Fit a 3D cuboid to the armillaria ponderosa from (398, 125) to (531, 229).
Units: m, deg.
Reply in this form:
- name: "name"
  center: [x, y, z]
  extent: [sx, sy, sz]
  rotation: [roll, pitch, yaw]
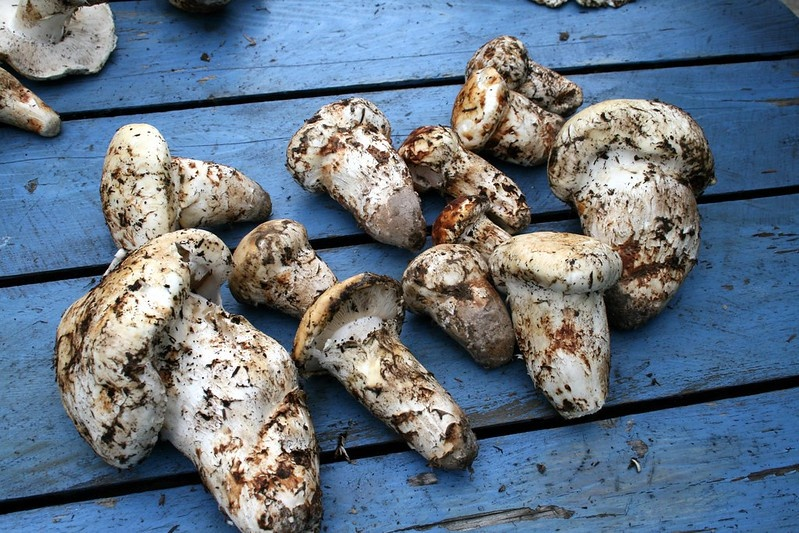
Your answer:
- name: "armillaria ponderosa"
  center: [0.325, -0.431, 4.913]
  extent: [0.728, 0.353, 0.295]
  rotation: [31, 107, 7]

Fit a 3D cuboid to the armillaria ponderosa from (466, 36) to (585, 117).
- name: "armillaria ponderosa"
  center: [0.639, -0.923, 5.152]
  extent: [0.529, 0.363, 0.242]
  rotation: [27, 72, -6]

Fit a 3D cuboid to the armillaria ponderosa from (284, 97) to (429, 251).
- name: "armillaria ponderosa"
  center: [-0.211, -0.425, 4.831]
  extent: [0.563, 0.323, 0.760]
  rotation: [-33, 67, -27]

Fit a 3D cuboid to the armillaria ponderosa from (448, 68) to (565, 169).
- name: "armillaria ponderosa"
  center: [0.486, -0.641, 4.985]
  extent: [0.547, 0.260, 0.381]
  rotation: [32, 65, 1]
